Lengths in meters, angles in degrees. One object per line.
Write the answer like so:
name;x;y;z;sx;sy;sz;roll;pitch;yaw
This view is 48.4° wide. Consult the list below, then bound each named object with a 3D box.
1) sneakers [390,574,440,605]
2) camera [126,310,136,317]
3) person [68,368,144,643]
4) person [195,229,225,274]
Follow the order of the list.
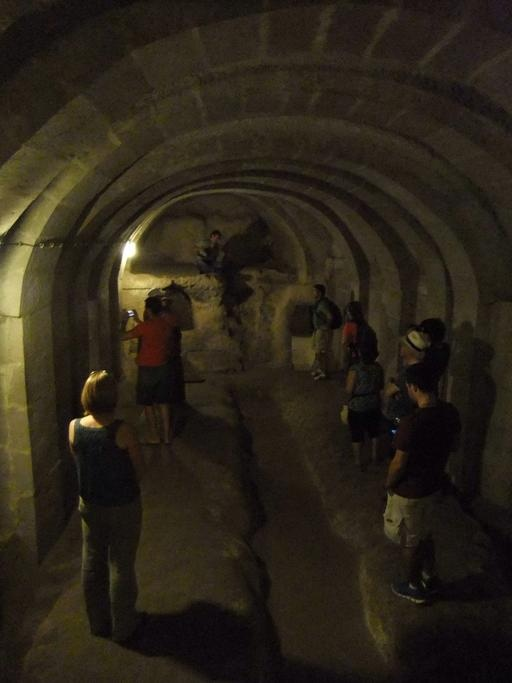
sneakers;1.060;1.694;3.900;0.405;0.170;0.131;1;44;27
camera;-1.516;-0.341;6.848;0.081;0.030;0.110;-2;23;-9
person;-0.883;1.101;3.342;0.400;1.469;0.235;0;12;-13
person;-0.835;-1.745;11.040;0.629;0.781;0.589;1;19;-27
